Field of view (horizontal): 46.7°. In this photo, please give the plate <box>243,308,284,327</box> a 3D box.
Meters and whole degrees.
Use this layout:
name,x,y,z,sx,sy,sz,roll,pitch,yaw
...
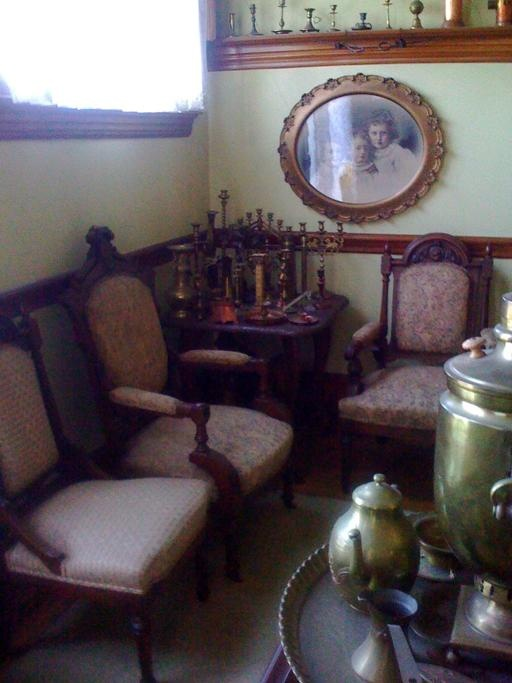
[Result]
name,x,y,z,sx,sy,sz,roll,pitch,yaw
plate,0.043,-0.121,3.020,0.133,0.038,0.124,2,21,5

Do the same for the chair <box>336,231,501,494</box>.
name,x,y,z,sx,sy,sz,roll,pitch,yaw
chair,0.837,0.062,3.078,0.659,1.190,1.134,5,14,21

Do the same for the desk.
name,x,y,z,sx,sy,sz,roll,pitch,yaw
desk,0.089,0.033,3.399,0.865,0.638,0.822,3,10,20

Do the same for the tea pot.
name,x,y,z,sx,sy,sz,roll,pitch,yaw
tea pot,0.264,0.437,1.318,0.203,0.298,0.276,2,16,14
